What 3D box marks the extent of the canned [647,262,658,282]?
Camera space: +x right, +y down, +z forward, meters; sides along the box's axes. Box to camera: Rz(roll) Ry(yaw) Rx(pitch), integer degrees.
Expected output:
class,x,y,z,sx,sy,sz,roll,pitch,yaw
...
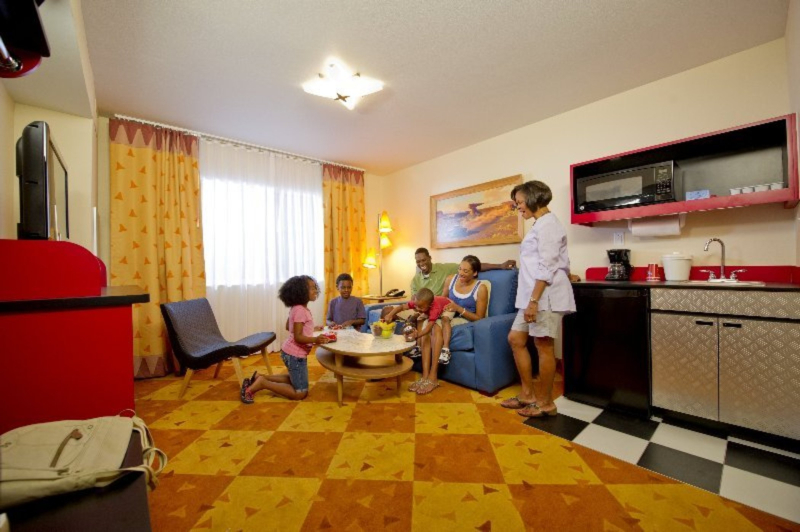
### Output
class,x,y,z,sx,sy,sz,roll,pitch,yaw
canned,2.206,0.054,4.417,0.093,0.140,0.224,0,3,29

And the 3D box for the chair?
class,x,y,z,sx,sy,sz,roll,pitch,yaw
chair,-1.721,0.714,4.910,0.956,1.087,0.798,-9,0,12

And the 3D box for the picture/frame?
class,x,y,z,sx,sy,sz,roll,pitch,yaw
picture/frame,0.908,-0.609,5.761,0.037,0.592,0.999,3,-4,-45

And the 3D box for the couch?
class,x,y,z,sx,sy,sz,roll,pitch,yaw
couch,0.548,0.720,4.863,0.871,1.055,1.473,5,-8,-40

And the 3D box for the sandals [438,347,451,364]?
class,x,y,z,sx,sy,sz,roll,pitch,yaw
sandals,0.400,0.800,4.596,0.071,0.077,0.168,3,4,13

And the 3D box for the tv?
class,x,y,z,sx,sy,sz,roll,pitch,yaw
tv,-2.374,-0.531,3.336,0.185,0.553,0.941,-2,5,-24

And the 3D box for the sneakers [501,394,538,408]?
class,x,y,z,sx,sy,sz,roll,pitch,yaw
sneakers,0.996,1.091,4.158,0.277,0.104,0.102,-1,-5,14

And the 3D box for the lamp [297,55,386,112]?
class,x,y,z,sx,sy,sz,roll,pitch,yaw
lamp,-0.513,-1.602,4.522,0.754,0.294,0.485,-2,2,-7

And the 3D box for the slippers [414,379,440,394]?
class,x,y,z,sx,sy,sz,roll,pitch,yaw
slippers,0.229,1.061,4.476,0.176,0.038,0.094,1,-1,-44

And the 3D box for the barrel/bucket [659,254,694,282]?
class,x,y,z,sx,sy,sz,roll,pitch,yaw
barrel/bucket,2.337,0.015,4.267,0.231,0.228,0.218,4,-2,0

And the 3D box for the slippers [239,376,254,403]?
class,x,y,z,sx,sy,sz,roll,pitch,yaw
slippers,-1.319,1.064,4.379,0.076,0.233,0.089,-16,-25,40

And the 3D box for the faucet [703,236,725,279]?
class,x,y,z,sx,sy,sz,roll,pitch,yaw
faucet,2.621,-0.073,4.214,0.153,0.331,0.255,0,3,32

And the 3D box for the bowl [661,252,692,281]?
class,x,y,z,sx,sy,sz,roll,pitch,yaw
bowl,2.336,0.007,4.280,0.234,0.231,0.221,4,-2,0

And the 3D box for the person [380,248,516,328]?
class,x,y,z,sx,sy,sz,roll,pitch,yaw
person,0.407,0.338,5.601,0.932,0.425,0.919,-17,5,-26

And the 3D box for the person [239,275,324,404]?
class,x,y,z,sx,sy,sz,roll,pitch,yaw
person,-1.029,0.593,5.051,1.082,1.559,0.712,-2,5,-18

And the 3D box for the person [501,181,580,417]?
class,x,y,z,sx,sy,sz,roll,pitch,yaw
person,1.133,0.249,4.102,0.536,1.859,0.352,-2,3,-24
